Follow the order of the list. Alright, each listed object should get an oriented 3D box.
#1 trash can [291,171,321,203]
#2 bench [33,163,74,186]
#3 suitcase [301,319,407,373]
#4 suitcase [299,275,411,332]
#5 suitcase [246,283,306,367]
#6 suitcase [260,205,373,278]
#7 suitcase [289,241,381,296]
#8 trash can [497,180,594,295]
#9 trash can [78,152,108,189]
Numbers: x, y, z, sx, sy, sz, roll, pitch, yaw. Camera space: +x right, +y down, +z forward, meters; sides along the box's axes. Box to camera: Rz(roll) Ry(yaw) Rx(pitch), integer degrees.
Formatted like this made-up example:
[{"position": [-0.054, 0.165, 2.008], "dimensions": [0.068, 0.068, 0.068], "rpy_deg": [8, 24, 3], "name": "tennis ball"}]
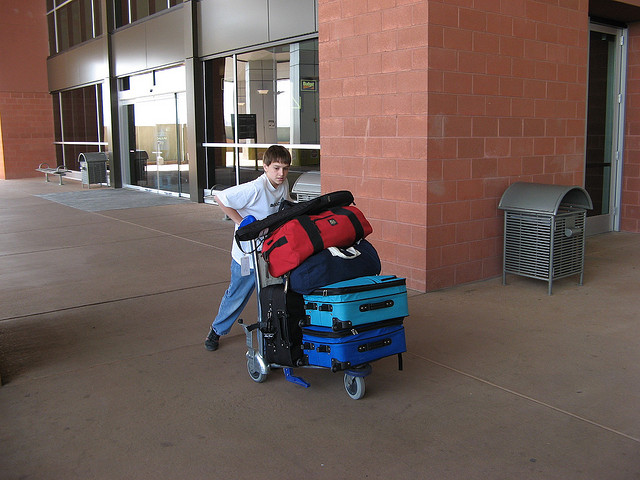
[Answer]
[{"position": [-0.171, -0.840, 7.715], "dimensions": [0.565, 0.303, 1.025], "rpy_deg": [3, 14, -5], "name": "trash can"}, {"position": [-12.210, -3.032, 21.776], "dimensions": [1.198, 1.248, 3.475], "rpy_deg": [-7, 13, -43], "name": "bench"}, {"position": [0.268, 0.750, 3.525], "dimensions": [0.790, 0.214, 0.603], "rpy_deg": [-3, -5, -44], "name": "suitcase"}, {"position": [0.272, 0.428, 3.339], "dimensions": [0.552, 0.238, 0.407], "rpy_deg": [-9, 9, -33], "name": "suitcase"}, {"position": [-0.274, 0.611, 3.408], "dimensions": [0.357, 0.594, 0.121], "rpy_deg": [3, 11, 27], "name": "suitcase"}, {"position": [-0.028, -0.023, 3.564], "dimensions": [1.027, 0.355, 0.517], "rpy_deg": [-17, -8, -40], "name": "suitcase"}, {"position": [0.115, 0.198, 3.271], "dimensions": [0.738, 0.258, 0.297], "rpy_deg": [-13, 10, -37], "name": "suitcase"}, {"position": [2.864, -0.174, 6.186], "dimensions": [0.953, 1.417, 1.069], "rpy_deg": [-7, 14, -35], "name": "trash can"}, {"position": [-8.338, -2.668, 17.618], "dimensions": [0.945, 1.154, 0.626], "rpy_deg": [-7, 11, -25], "name": "trash can"}]
